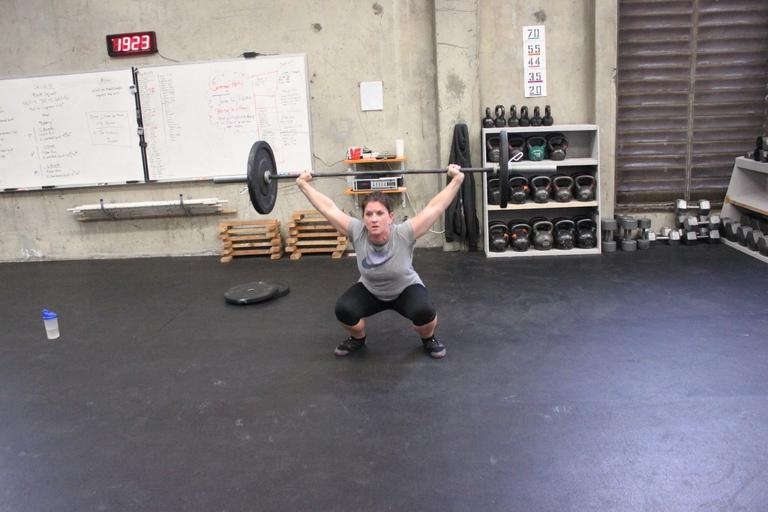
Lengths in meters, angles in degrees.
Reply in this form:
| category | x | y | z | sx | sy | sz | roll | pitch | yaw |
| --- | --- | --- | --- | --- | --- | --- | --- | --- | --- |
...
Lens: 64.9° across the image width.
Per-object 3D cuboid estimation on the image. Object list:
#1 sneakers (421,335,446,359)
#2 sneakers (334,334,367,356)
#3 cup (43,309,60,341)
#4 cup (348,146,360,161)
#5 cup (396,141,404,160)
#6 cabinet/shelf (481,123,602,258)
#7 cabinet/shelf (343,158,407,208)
| category | x | y | z | sx | sy | sz | roll | pitch | yaw |
| --- | --- | --- | --- | --- | --- | --- | --- | --- | --- |
| sneakers | 0.399 | 0.709 | 4.747 | 0.118 | 0.094 | 0.210 | -17 | 19 | -28 |
| sneakers | -0.260 | 0.715 | 4.832 | 0.245 | 0.102 | 0.124 | -4 | 5 | -29 |
| cup | -2.957 | 0.589 | 5.341 | 0.112 | 0.259 | 0.217 | -15 | 17 | -29 |
| cup | -0.323 | -1.180 | 6.947 | 0.138 | 0.144 | 0.154 | 0 | 0 | 2 |
| cup | 0.195 | -1.248 | 7.017 | 0.112 | 0.204 | 0.316 | -5 | 14 | 3 |
| cabinet/shelf | 1.742 | -0.727 | 6.610 | 1.611 | 1.698 | 0.620 | -1 | 3 | -1 |
| cabinet/shelf | -0.095 | -0.904 | 6.932 | 0.817 | 0.656 | 0.605 | -2 | 5 | -1 |
